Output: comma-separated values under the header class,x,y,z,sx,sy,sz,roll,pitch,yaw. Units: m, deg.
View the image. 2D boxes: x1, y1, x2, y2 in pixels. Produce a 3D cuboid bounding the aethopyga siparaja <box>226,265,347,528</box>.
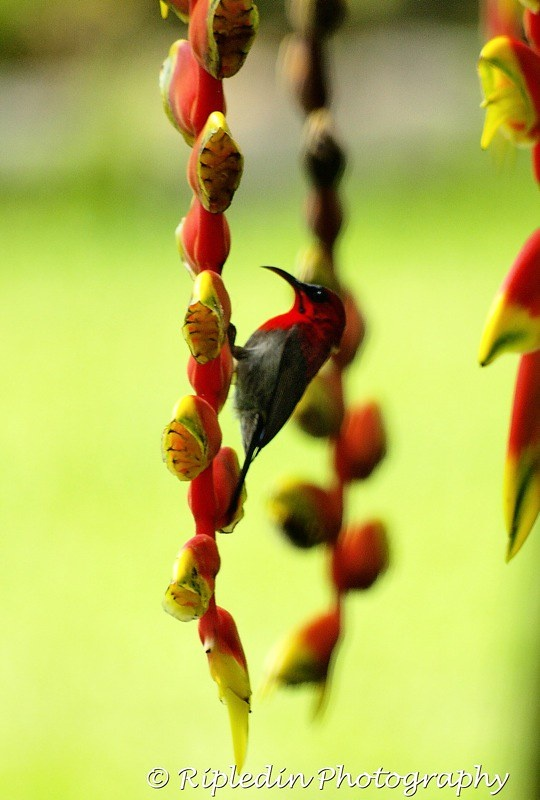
class,x,y,z,sx,sy,sz,roll,pitch,yaw
aethopyga siparaja,0.006,-0.007,0.294,0.028,0.078,0.018,11,41,15
